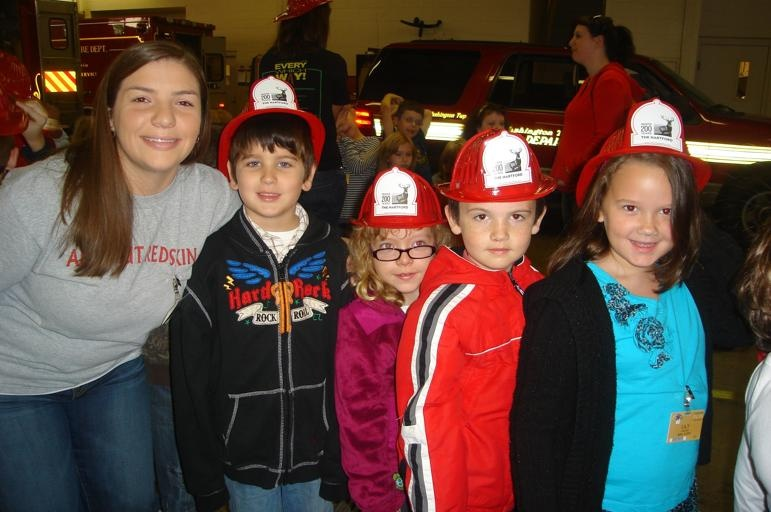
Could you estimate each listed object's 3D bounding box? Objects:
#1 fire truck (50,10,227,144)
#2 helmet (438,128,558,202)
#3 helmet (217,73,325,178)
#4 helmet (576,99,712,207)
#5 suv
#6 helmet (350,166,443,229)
[{"bbox_3d":[-5.558,-3.871,13.474,2.139,2.209,3.977,11,10,42],"label":"fire truck"},{"bbox_3d":[0.542,-0.474,3.083,0.589,0.296,0.582,-10,19,-13],"label":"helmet"},{"bbox_3d":[-0.659,-0.697,3.603,0.449,0.638,0.233,-1,51,-11],"label":"helmet"},{"bbox_3d":[1.263,-0.568,3.082,0.508,0.334,0.628,5,5,13],"label":"helmet"},{"bbox_3d":[2.113,-1.694,8.727,4.905,2.102,2.652,-3,15,5],"label":"suv"},{"bbox_3d":[0.080,-0.304,3.467,0.561,0.343,0.689,-2,-2,13],"label":"helmet"}]
